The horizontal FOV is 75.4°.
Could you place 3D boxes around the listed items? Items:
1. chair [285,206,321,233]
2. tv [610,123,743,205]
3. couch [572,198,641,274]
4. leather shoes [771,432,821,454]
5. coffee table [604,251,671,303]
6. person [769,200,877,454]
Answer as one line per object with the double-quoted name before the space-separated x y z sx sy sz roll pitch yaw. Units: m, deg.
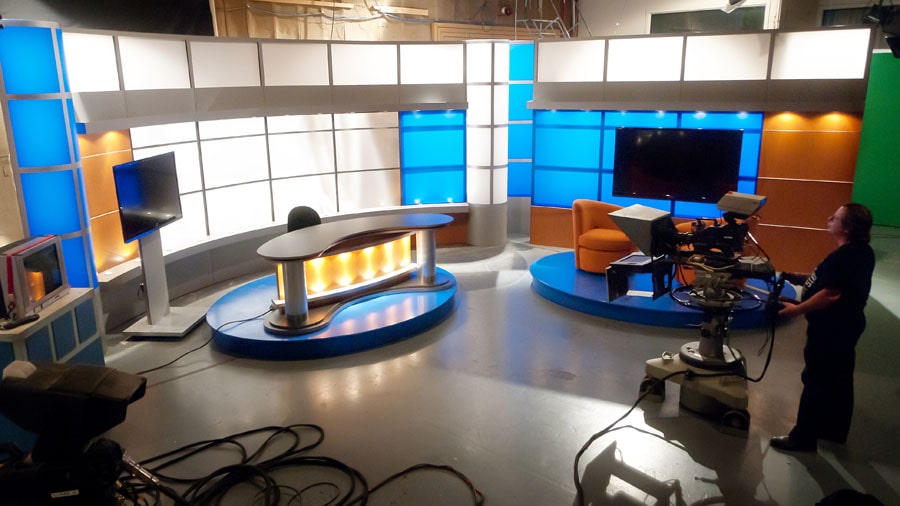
"chair" -2.460 -0.612 9.597 0.492 0.621 0.459 -10 22 -29
"tv" 3.929 -1.576 10.172 2.253 1.263 0.048 9 22 39
"couch" 2.745 -0.325 10.298 1.218 1.140 1.066 3 14 -2
"leather shoes" 4.032 2.219 6.966 0.615 0.230 0.209 4 17 15
"coffee table" 2.464 0.334 7.436 0.745 0.483 0.740 8 27 34
"person" 4.345 0.891 6.724 0.828 2.803 1.080 12 23 35
